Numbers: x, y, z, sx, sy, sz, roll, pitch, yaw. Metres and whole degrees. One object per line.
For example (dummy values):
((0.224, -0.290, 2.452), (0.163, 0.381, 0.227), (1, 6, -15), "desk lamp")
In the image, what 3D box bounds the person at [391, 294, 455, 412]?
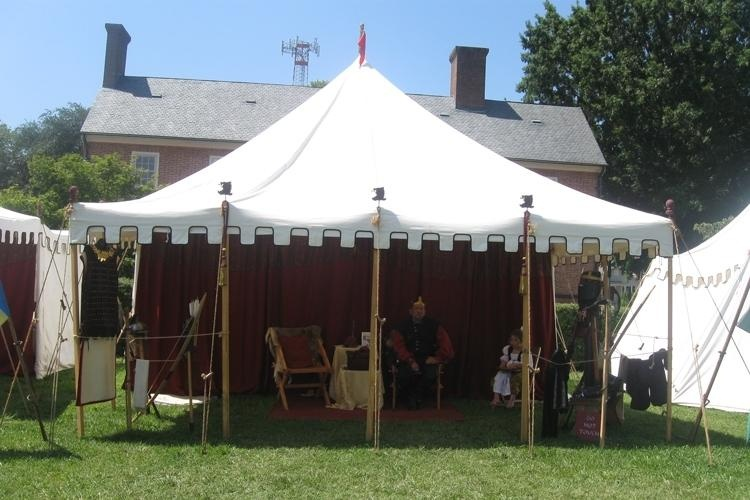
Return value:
((0.952, 2.216, 23.377), (1.254, 2.205, 0.481), (2, -5, 1), "person")

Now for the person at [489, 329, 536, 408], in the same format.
((2.842, 2.530, 23.575), (0.604, 1.633, 0.502), (1, -5, 13), "person")

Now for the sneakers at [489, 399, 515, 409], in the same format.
((2.743, 3.293, 23.491), (0.581, 0.185, 0.236), (4, -9, -10), "sneakers")

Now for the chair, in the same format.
((-1.637, 2.507, 23.546), (1.407, 1.791, 1.132), (3, -5, -9), "chair")
